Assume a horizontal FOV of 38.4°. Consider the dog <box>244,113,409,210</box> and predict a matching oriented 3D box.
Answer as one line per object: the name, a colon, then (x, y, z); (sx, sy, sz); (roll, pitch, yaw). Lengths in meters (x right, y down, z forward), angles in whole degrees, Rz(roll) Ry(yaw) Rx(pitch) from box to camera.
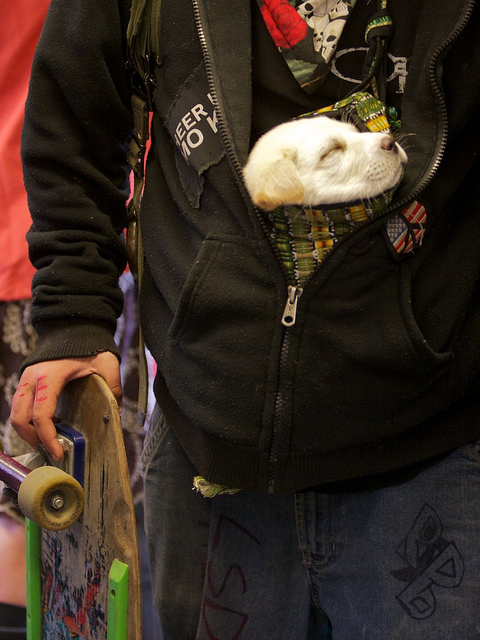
dog: (0.114, -0.213, 0.943); (0.216, 0.128, 0.204); (-14, 21, -15)
